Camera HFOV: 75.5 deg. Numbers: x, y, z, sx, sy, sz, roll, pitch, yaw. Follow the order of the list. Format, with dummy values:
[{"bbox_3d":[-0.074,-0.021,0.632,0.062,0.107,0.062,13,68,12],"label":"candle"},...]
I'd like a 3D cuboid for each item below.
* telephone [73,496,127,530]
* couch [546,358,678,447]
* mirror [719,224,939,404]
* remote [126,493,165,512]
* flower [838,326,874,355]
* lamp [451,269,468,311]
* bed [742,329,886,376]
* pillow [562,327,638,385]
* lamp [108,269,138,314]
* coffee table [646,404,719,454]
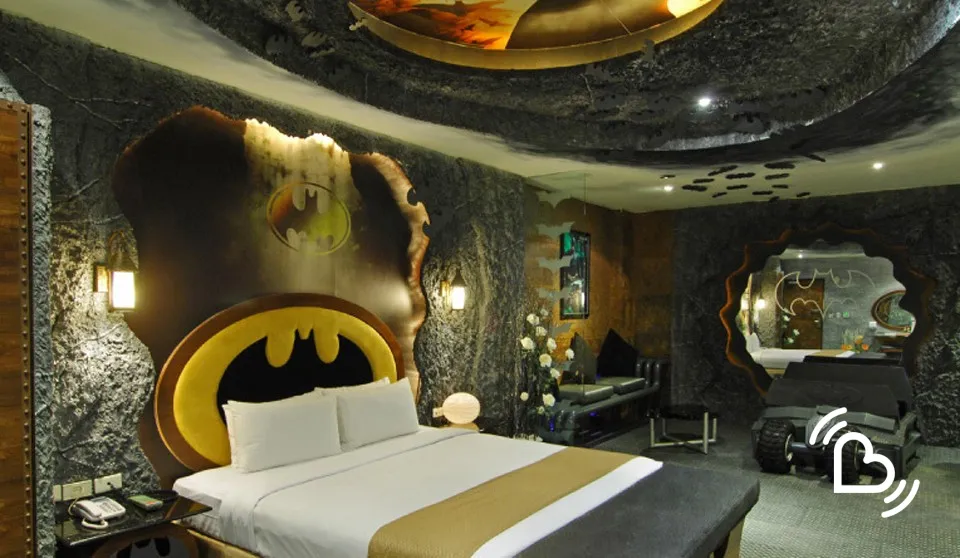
[{"bbox_3d":[-3.048,1.846,4.934,0.263,0.084,0.250,10,-2,22],"label":"telephone"},{"bbox_3d":[1.800,1.793,9.151,0.800,0.741,2.566,0,0,39],"label":"couch"},{"bbox_3d":[5.201,0.610,9.200,3.419,2.843,0.023,2,-5,-7],"label":"mirror"},{"bbox_3d":[-2.751,1.845,5.153,0.173,0.036,0.167,6,-2,15],"label":"remote"},{"bbox_3d":[5.363,0.876,8.807,0.384,0.363,0.155,8,16,28],"label":"flower"},{"bbox_3d":[-0.293,0.129,7.486,0.237,0.495,0.216,1,4,-24],"label":"lamp"},{"bbox_3d":[4.583,1.088,9.028,1.138,0.515,0.752,-4,-3,34],"label":"bed"},{"bbox_3d":[1.673,1.104,8.718,1.100,0.885,0.372,3,-2,-39],"label":"pillow"},{"bbox_3d":[-3.016,0.089,5.350,0.251,0.337,0.214,1,4,-9],"label":"lamp"},{"bbox_3d":[2.813,2.182,8.770,0.817,0.362,0.854,-2,-2,35],"label":"coffee table"}]
